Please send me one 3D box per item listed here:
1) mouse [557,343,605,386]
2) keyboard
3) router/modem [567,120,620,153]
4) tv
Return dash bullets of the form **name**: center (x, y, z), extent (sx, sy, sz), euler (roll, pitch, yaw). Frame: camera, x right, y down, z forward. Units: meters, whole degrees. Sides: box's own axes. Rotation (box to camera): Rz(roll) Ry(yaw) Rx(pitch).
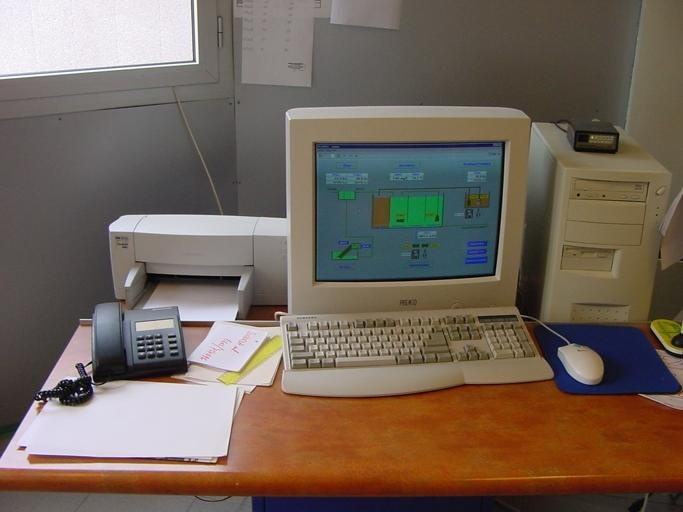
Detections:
- **mouse**: center (0.558, 0.251, 1.246), extent (0.101, 0.075, 0.115), euler (-1, 23, 4)
- **keyboard**: center (0.148, 0.165, 1.392), extent (0.715, 0.157, 0.464), euler (0, 25, -10)
- **router/modem**: center (0.690, -0.343, 1.488), extent (0.084, 0.055, 0.119), euler (0, 23, 8)
- **tv**: center (0.155, -0.124, 1.360), extent (0.566, 0.537, 0.311), euler (-1, 22, -11)
